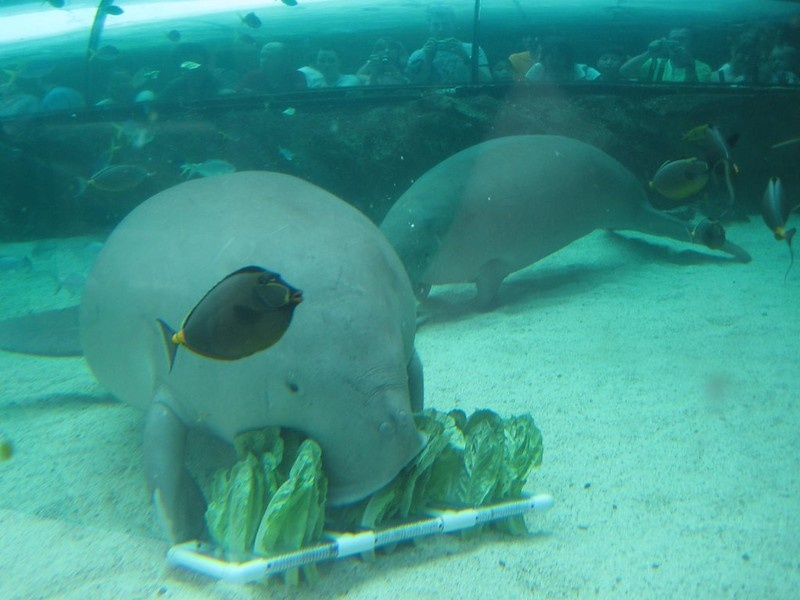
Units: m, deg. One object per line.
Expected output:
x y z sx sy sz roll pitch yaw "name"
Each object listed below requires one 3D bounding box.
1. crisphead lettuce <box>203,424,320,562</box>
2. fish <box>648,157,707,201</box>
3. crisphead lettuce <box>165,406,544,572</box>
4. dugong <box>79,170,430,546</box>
-0.515 0.730 2.903 0.464 0.433 0.194 -9 10 -12 "crisphead lettuce"
1.547 -0.670 4.204 0.316 0.207 0.257 -12 -36 27 "fish"
-0.155 0.768 2.971 1.483 0.697 0.504 -9 5 -24 "crisphead lettuce"
-0.610 0.066 3.057 0.968 1.756 1.087 -9 26 -21 "dugong"
